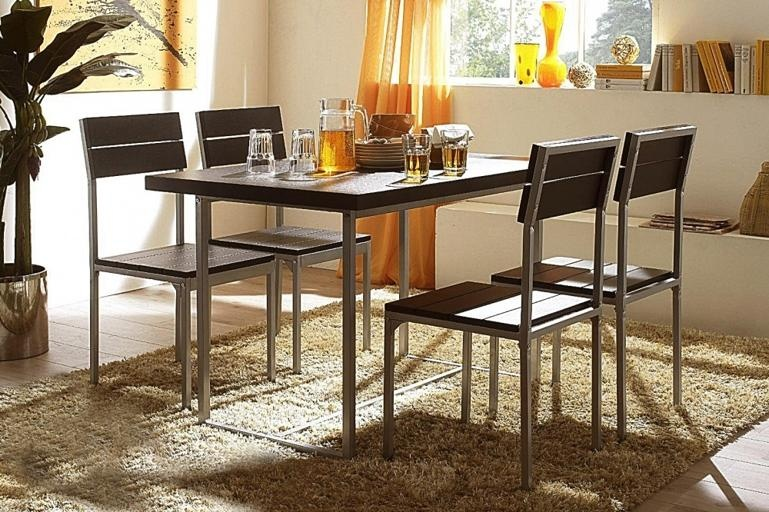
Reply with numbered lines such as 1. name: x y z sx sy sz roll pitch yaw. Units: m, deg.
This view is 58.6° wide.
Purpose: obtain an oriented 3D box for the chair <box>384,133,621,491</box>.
1. chair: 0.516 0.141 2.632 0.637 1.186 0.985 11 17 40

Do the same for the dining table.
1. dining table: -0.108 0.138 3.367 0.960 0.992 1.820 5 7 26

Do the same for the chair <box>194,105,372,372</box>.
1. chair: -0.514 -0.130 3.593 0.761 1.269 0.731 5 10 20

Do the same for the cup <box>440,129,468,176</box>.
1. cup: 0.274 -0.433 2.803 0.158 0.242 0.163 -1 9 0

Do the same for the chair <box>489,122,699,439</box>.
1. chair: 0.862 0.070 2.995 0.713 1.261 0.666 7 14 41

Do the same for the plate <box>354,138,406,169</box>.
1. plate: -0.022 -0.426 2.932 0.148 0.066 0.152 1 5 41
